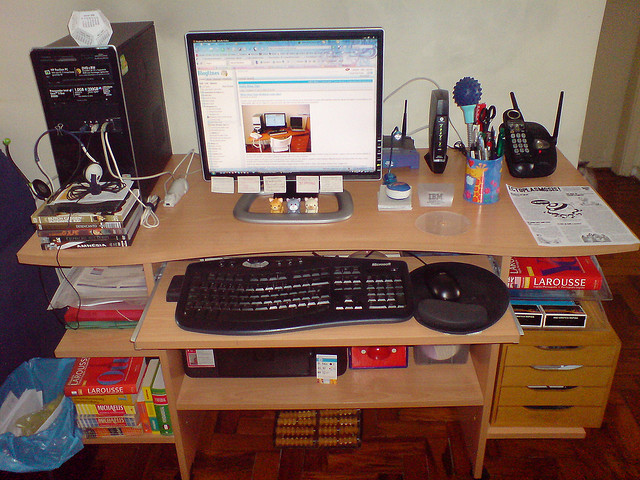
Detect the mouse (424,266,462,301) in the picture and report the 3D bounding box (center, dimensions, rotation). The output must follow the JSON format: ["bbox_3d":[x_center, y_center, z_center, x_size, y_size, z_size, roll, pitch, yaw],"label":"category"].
[{"bbox_3d":[0.382,0.133,1.661,0.099,0.037,0.149,-4,30,-1],"label":"mouse"}]

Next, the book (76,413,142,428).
[{"bbox_3d":[-0.745,0.639,1.879,0.124,0.023,0.102,0,2,0],"label":"book"}]

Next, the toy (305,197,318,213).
[{"bbox_3d":[-0.028,-0.117,1.795,0.055,0.057,0.047,0,14,0],"label":"toy"}]

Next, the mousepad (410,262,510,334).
[{"bbox_3d":[0.431,0.165,1.635,0.294,0.094,0.294,-1,26,6],"label":"mousepad"}]

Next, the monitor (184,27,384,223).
[{"bbox_3d":[-0.104,-0.378,1.724,0.838,0.659,0.260,0,40,1],"label":"monitor"}]

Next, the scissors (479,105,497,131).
[{"bbox_3d":[0.573,-0.434,1.836,0.063,0.020,0.141,0,51,23],"label":"scissors"}]

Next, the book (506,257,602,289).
[{"bbox_3d":[0.781,0.106,1.766,0.195,0.036,0.177,1,14,12],"label":"book"}]

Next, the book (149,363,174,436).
[{"bbox_3d":[-0.558,0.578,1.911,0.072,0.222,0.135,-4,29,4],"label":"book"}]

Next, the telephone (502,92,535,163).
[{"bbox_3d":[0.700,-0.406,1.883,0.079,0.220,0.124,-1,34,12],"label":"telephone"}]

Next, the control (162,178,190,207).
[{"bbox_3d":[-0.500,-0.166,1.865,0.074,0.100,0.032,20,-6,12],"label":"control"}]

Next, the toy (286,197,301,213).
[{"bbox_3d":[-0.086,-0.120,1.788,0.046,0.043,0.044,1,38,1],"label":"toy"}]

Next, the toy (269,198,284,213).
[{"bbox_3d":[-0.139,-0.117,1.804,0.050,0.045,0.050,1,31,5],"label":"toy"}]

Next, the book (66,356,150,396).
[{"bbox_3d":[-0.751,0.482,1.891,0.258,0.074,0.158,-4,27,0],"label":"book"}]

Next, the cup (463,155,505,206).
[{"bbox_3d":[0.553,-0.212,1.809,0.149,0.135,0.134,-1,12,-15],"label":"cup"}]

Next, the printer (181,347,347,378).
[{"bbox_3d":[-0.187,0.424,1.842,0.557,0.165,0.048,-5,30,-2],"label":"printer"}]

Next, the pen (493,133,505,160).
[{"bbox_3d":[0.577,-0.303,1.708,0.015,0.093,0.024,24,29,31],"label":"pen"}]

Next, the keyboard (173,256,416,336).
[{"bbox_3d":[-0.077,0.161,1.627,0.713,0.135,0.258,-4,27,0],"label":"keyboard"}]

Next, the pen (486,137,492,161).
[{"bbox_3d":[0.548,-0.293,1.717,0.024,0.100,0.021,-4,44,15],"label":"pen"}]
